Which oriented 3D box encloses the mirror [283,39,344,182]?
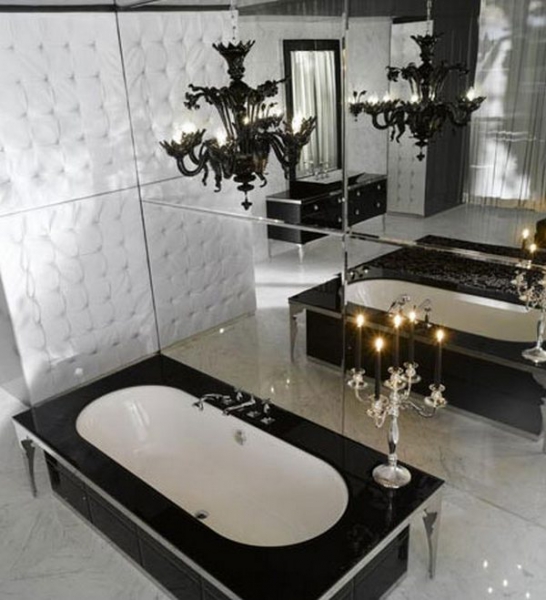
[{"bbox_3d":[0.176,-0.828,2.158,0.314,0.568,0.073,15,24,43],"label":"mirror"}]
